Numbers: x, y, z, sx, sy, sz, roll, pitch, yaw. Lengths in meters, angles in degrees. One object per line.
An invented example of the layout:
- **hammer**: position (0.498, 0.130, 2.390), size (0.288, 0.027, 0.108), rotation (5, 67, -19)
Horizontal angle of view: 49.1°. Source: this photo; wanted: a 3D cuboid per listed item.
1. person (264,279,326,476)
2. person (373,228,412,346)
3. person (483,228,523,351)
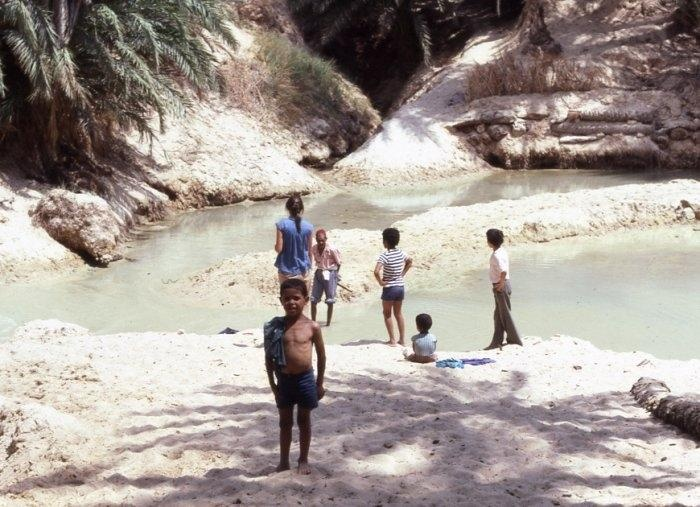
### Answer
- **person**: position (-0.556, 1.263, 7.991), size (0.608, 2.023, 0.256), rotation (-6, 4, -7)
- **person**: position (0.566, 0.473, 10.796), size (0.557, 1.659, 0.502), rotation (-6, 4, -17)
- **person**: position (2.071, 0.483, 10.573), size (0.477, 1.644, 0.508), rotation (-5, 4, 0)
